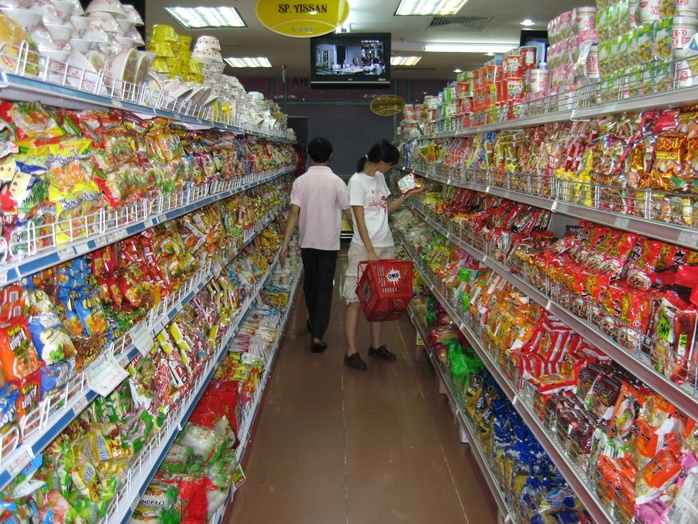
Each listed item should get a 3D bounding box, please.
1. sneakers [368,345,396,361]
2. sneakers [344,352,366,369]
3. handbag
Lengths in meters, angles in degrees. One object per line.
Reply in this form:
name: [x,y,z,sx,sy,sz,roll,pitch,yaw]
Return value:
sneakers: [0.356,0.960,4.671,0.304,0.119,0.144,3,-86,13]
sneakers: [0.060,0.995,4.440,0.113,0.223,0.105,-3,-87,-37]
handbag: [0.300,0.274,3.820,0.380,0.595,0.592,6,-38,-11]
